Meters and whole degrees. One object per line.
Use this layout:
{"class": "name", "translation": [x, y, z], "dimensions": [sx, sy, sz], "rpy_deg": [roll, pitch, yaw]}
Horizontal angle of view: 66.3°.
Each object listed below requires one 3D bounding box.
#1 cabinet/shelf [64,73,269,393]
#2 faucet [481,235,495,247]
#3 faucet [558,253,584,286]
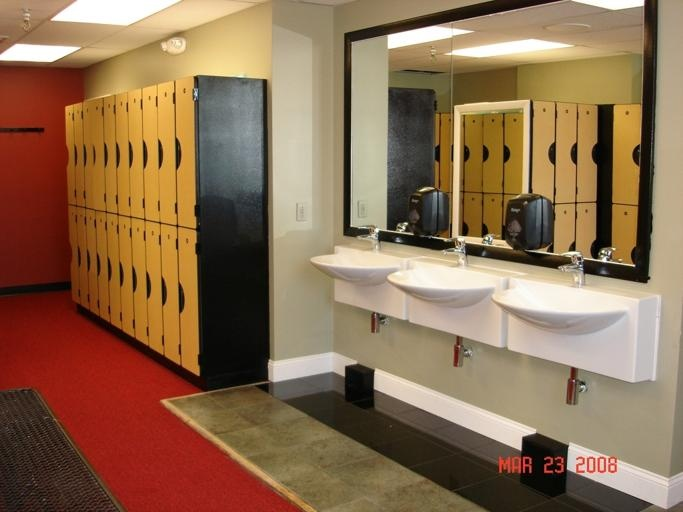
{"class": "cabinet/shelf", "translation": [-1.603, -0.175, 4.914], "dimensions": [0.827, 2.635, 3.261], "rpy_deg": [0, 1, -31]}
{"class": "faucet", "translation": [1.010, -0.103, 3.628], "dimensions": [0.076, 0.075, 0.049], "rpy_deg": [5, 1, -22]}
{"class": "faucet", "translation": [1.338, 0.075, 3.010], "dimensions": [0.139, 0.210, 0.073], "rpy_deg": [-8, 21, 9]}
